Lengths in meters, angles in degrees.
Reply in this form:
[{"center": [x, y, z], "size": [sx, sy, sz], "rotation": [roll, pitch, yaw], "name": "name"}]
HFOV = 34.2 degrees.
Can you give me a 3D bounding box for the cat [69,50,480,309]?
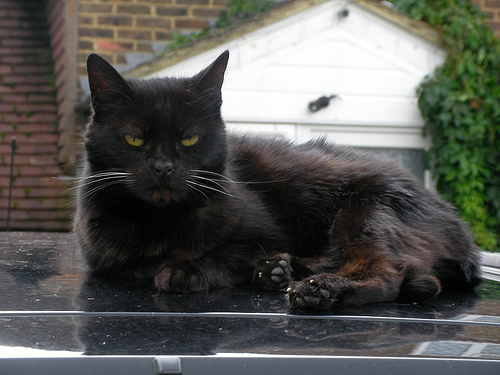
[{"center": [0.223, -0.026, 4.515], "size": [2.087, 0.922, 1.337], "rotation": [9, -17, -29], "name": "cat"}]
